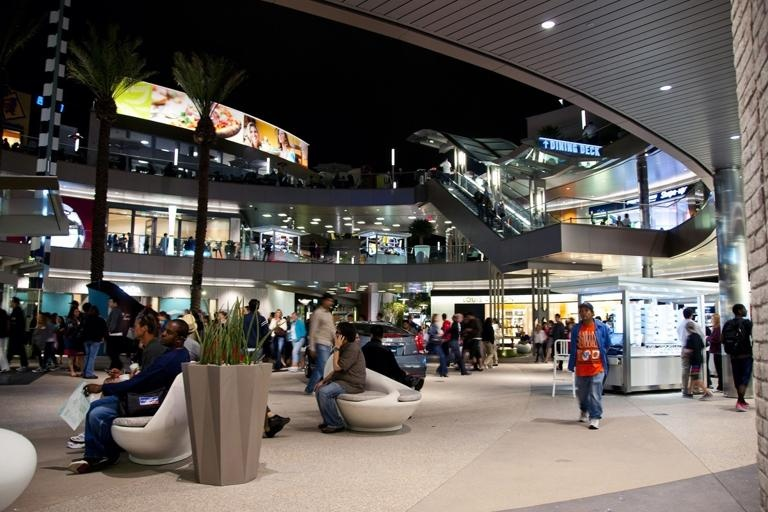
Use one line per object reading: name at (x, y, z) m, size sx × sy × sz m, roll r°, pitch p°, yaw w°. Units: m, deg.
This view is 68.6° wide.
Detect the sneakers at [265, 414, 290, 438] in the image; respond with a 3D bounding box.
sneakers at (-1.863, 2.855, 9.450) m, size 0.205 × 0.223 × 0.610 m, roll 0°, pitch 2°, yaw 25°

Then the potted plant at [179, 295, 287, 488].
potted plant at (-2.016, 1.796, 7.388) m, size 0.843 × 2.325 × 0.881 m, roll -4°, pitch -7°, yaw 42°

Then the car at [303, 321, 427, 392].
car at (-0.154, 2.191, 12.536) m, size 1.656 × 1.170 × 2.809 m, roll 3°, pitch -2°, yaw -24°

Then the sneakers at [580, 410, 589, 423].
sneakers at (3.887, 3.130, 10.973) m, size 0.180 × 0.190 × 0.325 m, roll -1°, pitch -5°, yaw 19°

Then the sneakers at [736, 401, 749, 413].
sneakers at (7.633, 3.221, 12.015) m, size 0.370 × 0.140 × 0.120 m, roll 4°, pitch -5°, yaw -39°

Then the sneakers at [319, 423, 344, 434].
sneakers at (-0.924, 3.087, 10.041) m, size 0.447 × 0.170 × 0.148 m, roll 13°, pitch -23°, yaw -22°
